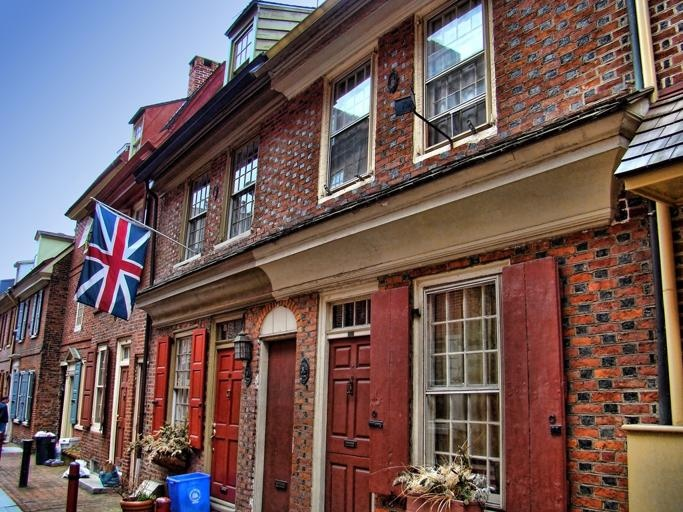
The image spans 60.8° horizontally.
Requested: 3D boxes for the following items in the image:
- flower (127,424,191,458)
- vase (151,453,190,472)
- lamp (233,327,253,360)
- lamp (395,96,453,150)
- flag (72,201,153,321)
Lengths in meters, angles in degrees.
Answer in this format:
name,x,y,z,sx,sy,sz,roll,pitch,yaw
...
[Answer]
name,x,y,z,sx,sy,sz,roll,pitch,yaw
flower,-3.450,3.559,11.148,0.930,0.479,0.764,-4,-15,17
vase,-3.170,3.826,10.706,0.831,0.312,0.410,-20,-28,41
lamp,-1.572,1.441,9.374,0.345,0.599,0.410,-4,-13,6
lamp,1.010,-1.660,7.154,0.673,0.898,0.593,-4,-20,12
flag,-4.274,0.115,11.002,0.356,2.018,1.241,-14,-24,37
